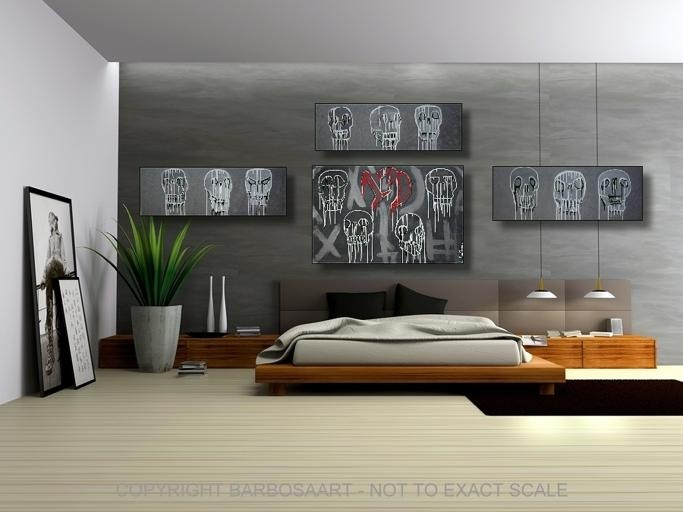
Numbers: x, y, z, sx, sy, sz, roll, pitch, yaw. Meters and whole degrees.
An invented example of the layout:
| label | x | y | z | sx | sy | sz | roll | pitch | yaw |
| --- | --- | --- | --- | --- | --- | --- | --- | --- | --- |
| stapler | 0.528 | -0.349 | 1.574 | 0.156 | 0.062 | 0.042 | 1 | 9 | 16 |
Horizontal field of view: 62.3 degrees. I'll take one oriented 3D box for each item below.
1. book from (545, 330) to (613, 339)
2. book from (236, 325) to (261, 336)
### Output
| label | x | y | z | sx | sy | sz | roll | pitch | yaw |
| --- | --- | --- | --- | --- | --- | --- | --- | --- | --- |
| book | 2.845 | 0.943 | 6.758 | 0.848 | 0.058 | 0.407 | 0 | 4 | 3 |
| book | -1.118 | 0.923 | 6.860 | 0.270 | 0.133 | 0.401 | 0 | 4 | -4 |
